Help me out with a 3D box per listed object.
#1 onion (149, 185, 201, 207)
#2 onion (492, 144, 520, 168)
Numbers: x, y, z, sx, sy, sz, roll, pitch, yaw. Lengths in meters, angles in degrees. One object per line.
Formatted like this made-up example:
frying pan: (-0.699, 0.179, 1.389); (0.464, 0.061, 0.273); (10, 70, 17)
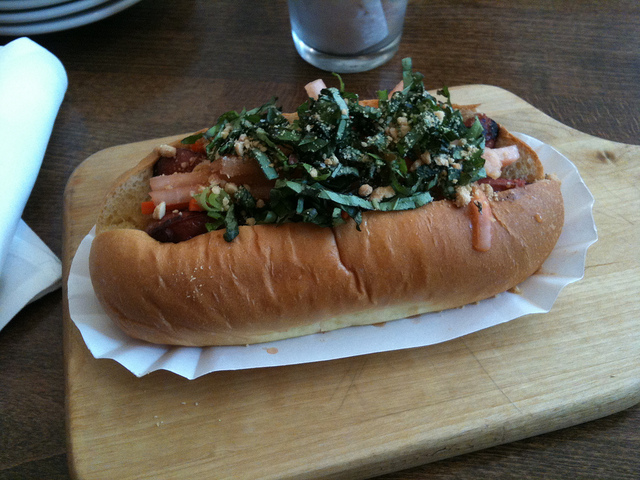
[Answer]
onion: (-0.739, -0.227, 3.070); (0.355, 0.091, 0.084); (-7, 57, -7)
onion: (1.033, -0.460, 3.206); (0.150, 0.039, 0.115); (-1, 69, -3)
